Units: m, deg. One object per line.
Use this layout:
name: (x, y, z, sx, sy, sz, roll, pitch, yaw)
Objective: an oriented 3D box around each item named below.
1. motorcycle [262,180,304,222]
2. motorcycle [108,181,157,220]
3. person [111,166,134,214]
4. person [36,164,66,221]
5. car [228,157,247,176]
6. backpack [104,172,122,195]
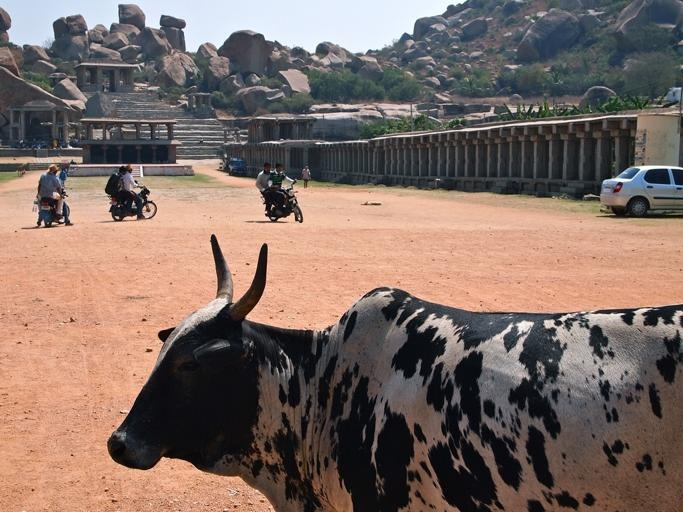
motorcycle: (-1.384, -1.282, 23.309, 0.634, 0.982, 1.513, -9, 5, -37)
motorcycle: (-5.070, -1.279, 23.756, 1.244, 0.808, 0.589, -5, -21, -37)
person: (-5.190, -1.619, 23.353, 0.493, 0.938, 0.578, 5, 13, 24)
person: (-6.363, -1.354, 20.985, 0.573, 0.740, 1.188, -4, 38, -9)
car: (-6.909, -5.970, 65.938, 1.183, 1.265, 2.211, 0, 4, -14)
backpack: (-5.444, -1.691, 23.264, 0.402, 0.444, 0.456, -13, 7, 0)
